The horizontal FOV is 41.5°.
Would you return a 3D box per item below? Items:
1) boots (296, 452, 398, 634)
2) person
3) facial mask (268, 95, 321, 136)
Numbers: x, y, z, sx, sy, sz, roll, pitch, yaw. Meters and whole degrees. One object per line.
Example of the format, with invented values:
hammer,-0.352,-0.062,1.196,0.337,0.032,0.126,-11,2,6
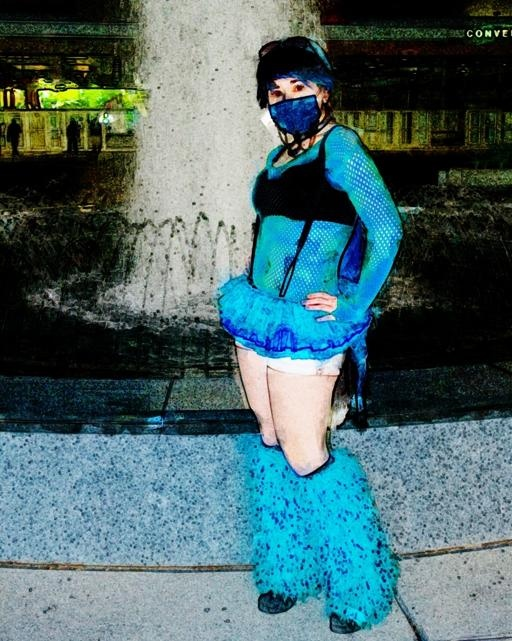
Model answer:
boots,0.279,0.637,2.043,0.292,0.467,0.189,-21,-7,17
person,0.151,0.072,1.937,0.541,1.652,0.392,1,12,4
facial mask,0.105,-0.538,1.778,0.117,0.085,0.107,4,17,20
